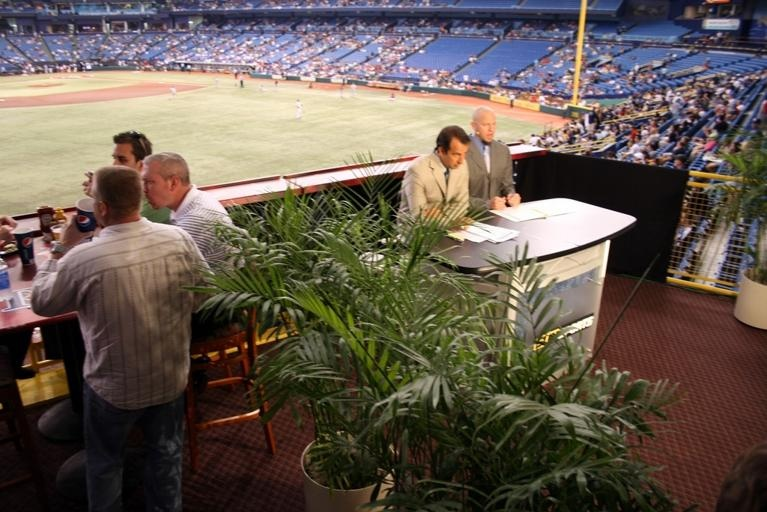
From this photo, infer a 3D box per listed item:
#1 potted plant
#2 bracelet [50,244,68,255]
[{"bbox_3d":[-0.201,0.522,2.265,1.081,1.515,1.462,-5,22,-18],"label":"potted plant"},{"bbox_3d":[-2.173,-0.048,3.202,0.093,0.039,0.124,-26,28,-37],"label":"bracelet"}]
